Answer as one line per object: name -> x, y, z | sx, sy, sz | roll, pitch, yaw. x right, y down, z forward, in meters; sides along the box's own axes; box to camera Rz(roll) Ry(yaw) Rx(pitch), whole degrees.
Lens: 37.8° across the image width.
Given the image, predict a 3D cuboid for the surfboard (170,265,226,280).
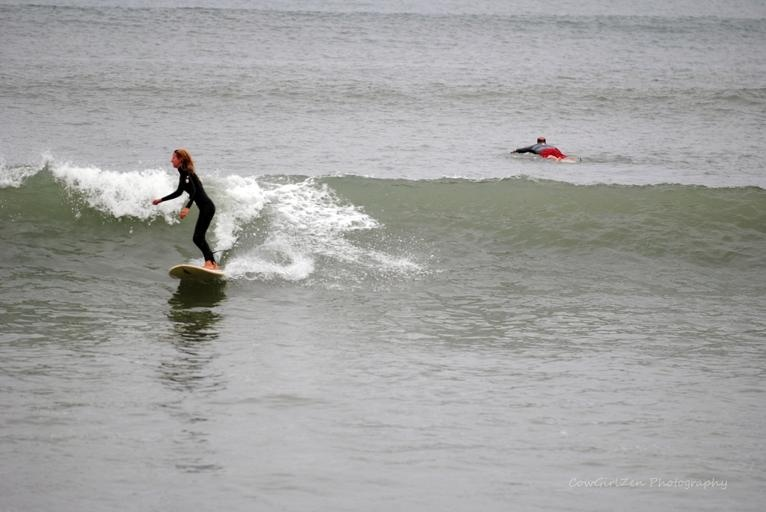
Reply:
surfboard -> -4.195, 0.412, 25.393 | 0.902, 0.513, 0.158 | 19, 70, -34
